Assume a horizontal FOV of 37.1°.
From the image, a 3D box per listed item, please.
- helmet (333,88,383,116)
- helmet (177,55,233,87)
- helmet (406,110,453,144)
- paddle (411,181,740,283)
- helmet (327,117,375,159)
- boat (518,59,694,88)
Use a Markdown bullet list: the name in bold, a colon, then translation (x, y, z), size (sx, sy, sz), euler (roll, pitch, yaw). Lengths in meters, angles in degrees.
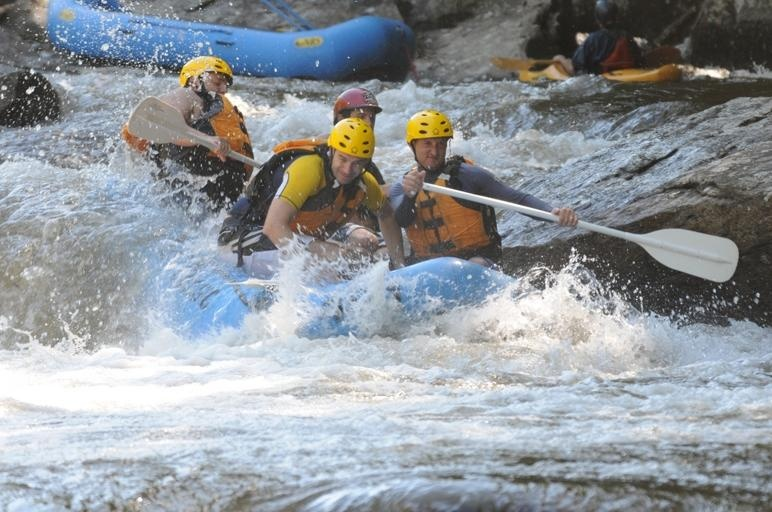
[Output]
- **helmet**: translation (-0.326, -1.712, 12.530), size (0.422, 0.299, 0.176), euler (-6, 84, 24)
- **helmet**: translation (-2.015, -2.122, 12.860), size (0.632, 0.423, 0.306), euler (1, 87, 6)
- **helmet**: translation (0.455, -1.338, 11.821), size (0.330, 0.330, 0.383), euler (0, 97, -6)
- **paddle**: translation (1.976, -0.230, 11.667), size (4.202, 0.182, 0.506), euler (13, 94, 16)
- **helmet**: translation (-0.336, -1.114, 11.272), size (0.459, 0.386, 0.358), euler (-7, 47, -3)
- **boat**: translation (3.009, -2.612, 16.676), size (2.827, 0.843, 0.406), euler (1, 98, 35)
